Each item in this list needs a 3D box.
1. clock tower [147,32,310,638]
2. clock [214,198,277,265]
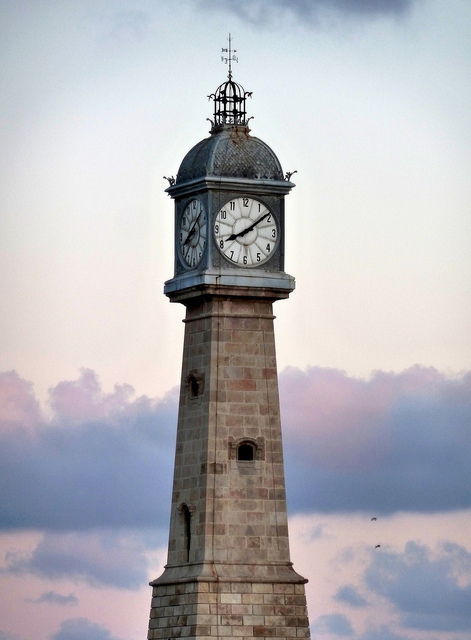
[{"bbox_3d":[-0.119,0.992,33.611,3.515,14.643,5.729,0,-33,3],"label":"clock tower"},{"bbox_3d":[0.202,-2.322,33.352,1.656,1.857,0.140,1,-6,-27],"label":"clock"}]
